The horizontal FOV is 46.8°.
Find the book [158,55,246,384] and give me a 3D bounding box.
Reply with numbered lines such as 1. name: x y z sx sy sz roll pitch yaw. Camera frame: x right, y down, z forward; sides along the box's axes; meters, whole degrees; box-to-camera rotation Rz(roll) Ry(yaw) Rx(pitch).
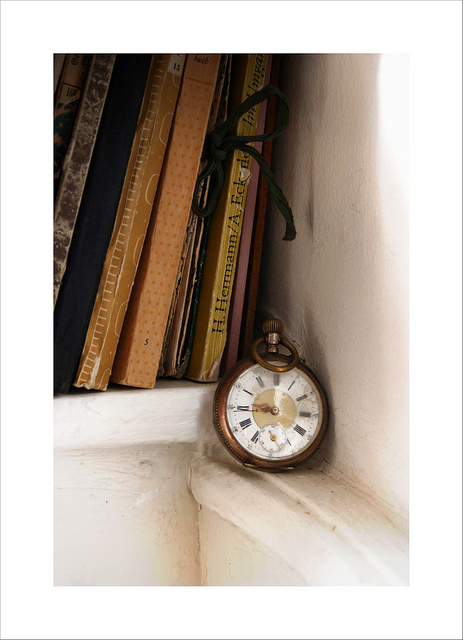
1. book: -0.049 -0.167 0.815 0.059 0.439 0.368 12 21 -7

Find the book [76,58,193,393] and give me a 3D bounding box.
1. book: -0.141 -0.147 0.745 0.046 0.360 0.340 14 28 2

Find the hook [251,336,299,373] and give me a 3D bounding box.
1. hook: 0.060 0.036 0.746 0.049 0.054 0.055 -5 13 -12

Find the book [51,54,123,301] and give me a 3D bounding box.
1. book: -0.193 -0.200 0.699 0.032 0.305 0.253 14 11 -16
